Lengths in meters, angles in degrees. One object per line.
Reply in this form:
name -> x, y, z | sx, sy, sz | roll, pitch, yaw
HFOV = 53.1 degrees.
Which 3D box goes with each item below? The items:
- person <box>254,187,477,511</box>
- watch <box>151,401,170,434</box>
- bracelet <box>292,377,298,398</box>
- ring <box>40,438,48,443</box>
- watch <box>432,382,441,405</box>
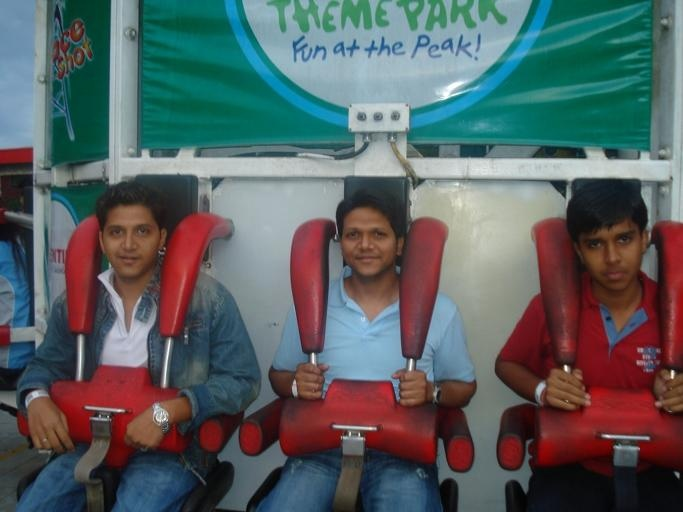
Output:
person -> 0.098, 0.337, 2.534 | 0.784, 1.164, 0.489 | 0, 3, 10
watch -> -0.618, 0.558, 2.390 | 0.053, 0.097, 0.084 | -22, -9, -7
bracelet -> -0.169, 0.475, 2.450 | 0.014, 0.067, 0.044 | -1, 3, -19
ring -> -1.045, 0.649, 2.398 | 0.013, 0.014, 0.003 | 12, -8, -22
watch -> 0.337, 0.489, 2.420 | 0.038, 0.068, 0.058 | 2, -8, -4
